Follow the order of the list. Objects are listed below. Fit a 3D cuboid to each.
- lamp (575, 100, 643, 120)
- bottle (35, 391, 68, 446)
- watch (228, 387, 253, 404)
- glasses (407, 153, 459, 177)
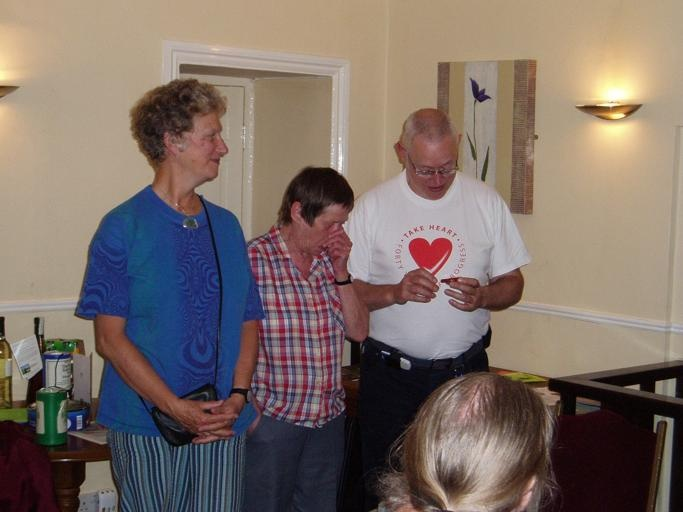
[{"bbox_3d":[1.596,-0.874,3.674,0.372,0.119,0.146,4,8,26],"label":"lamp"},{"bbox_3d":[-1.202,0.663,2.561,0.128,0.242,0.110,-5,9,-34],"label":"bottle"},{"bbox_3d":[-0.337,0.474,2.033,0.064,0.042,0.067,7,-21,-7],"label":"watch"},{"bbox_3d":[0.369,-0.364,2.482,0.197,0.086,0.110,1,7,6],"label":"glasses"}]
